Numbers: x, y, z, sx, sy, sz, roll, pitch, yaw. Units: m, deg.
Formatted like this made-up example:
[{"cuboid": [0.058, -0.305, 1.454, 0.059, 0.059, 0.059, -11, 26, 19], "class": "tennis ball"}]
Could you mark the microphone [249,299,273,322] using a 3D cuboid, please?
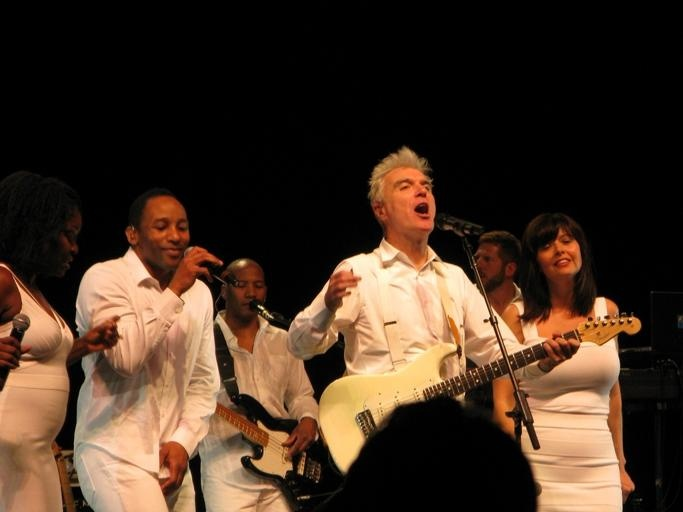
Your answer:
[{"cuboid": [-0.538, 0.378, 5.240, 0.098, 0.092, 0.345, 32, -5, -23], "class": "microphone"}]

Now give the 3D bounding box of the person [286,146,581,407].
[{"cuboid": [0.450, 0.213, 4.600, 1.479, 1.835, 1.022, 5, -13, -23], "class": "person"}]
